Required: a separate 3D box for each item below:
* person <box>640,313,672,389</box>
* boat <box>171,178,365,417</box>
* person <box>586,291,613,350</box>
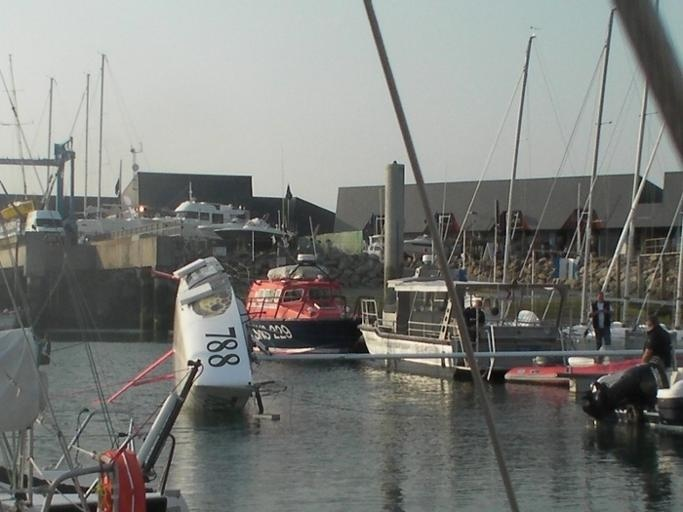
[{"bbox_3d":[5.991,1.864,24.781,0.462,1.562,0.632,-5,-28,37],"label":"person"},{"bbox_3d":[-1.954,0.969,30.443,3.528,5.251,10.426,-1,-1,-19],"label":"boat"},{"bbox_3d":[5.812,1.507,28.978,0.437,1.448,0.438,2,24,25],"label":"person"}]
